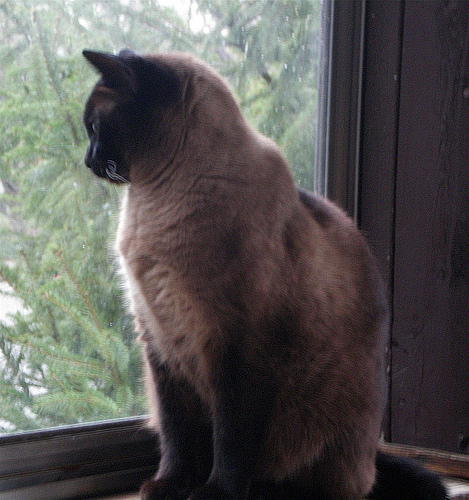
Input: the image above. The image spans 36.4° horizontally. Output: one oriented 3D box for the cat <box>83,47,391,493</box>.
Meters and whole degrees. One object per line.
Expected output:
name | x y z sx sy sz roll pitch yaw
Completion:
cat | -0.027 0.127 1.439 0.658 0.878 0.445 13 -17 -25
